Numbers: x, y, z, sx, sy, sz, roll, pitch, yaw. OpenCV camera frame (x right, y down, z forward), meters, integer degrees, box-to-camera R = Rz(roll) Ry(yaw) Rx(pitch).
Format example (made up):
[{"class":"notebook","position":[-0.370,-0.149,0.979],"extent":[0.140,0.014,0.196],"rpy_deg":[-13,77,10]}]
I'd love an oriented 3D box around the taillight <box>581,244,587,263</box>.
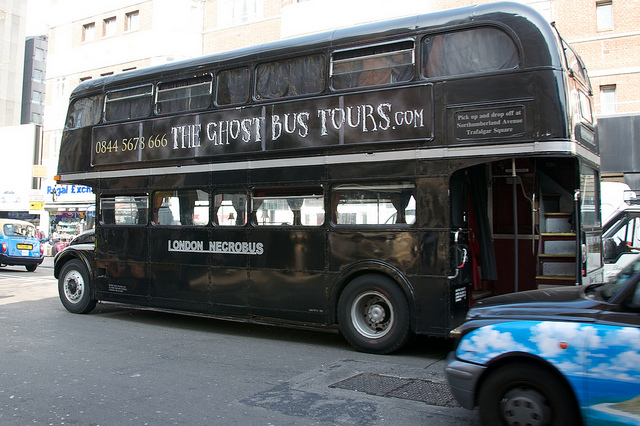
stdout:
[{"class":"taillight","position":[4.639,0.718,9.080],"extent":[0.049,0.307,0.511],"rpy_deg":[2,4,32]}]

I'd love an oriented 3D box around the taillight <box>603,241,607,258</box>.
[{"class":"taillight","position":[7.372,0.936,13.354],"extent":[0.061,0.396,0.127],"rpy_deg":[1,3,14]}]

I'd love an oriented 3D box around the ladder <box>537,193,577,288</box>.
[{"class":"ladder","position":[4.482,0.578,9.801],"extent":[0.655,1.675,1.747],"rpy_deg":[-2,-3,19]}]

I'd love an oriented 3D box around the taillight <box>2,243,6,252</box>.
[{"class":"taillight","position":[-13.739,1.494,22.524],"extent":[0.175,0.268,0.063],"rpy_deg":[6,2,5]}]

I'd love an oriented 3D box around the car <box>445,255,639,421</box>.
[{"class":"car","position":[2.795,1.704,6.559],"extent":[2.545,1.528,1.346],"rpy_deg":[1,-8,18]}]
